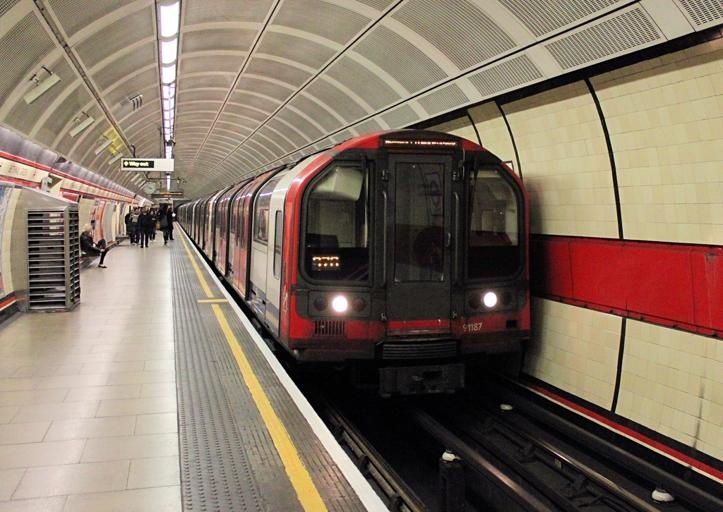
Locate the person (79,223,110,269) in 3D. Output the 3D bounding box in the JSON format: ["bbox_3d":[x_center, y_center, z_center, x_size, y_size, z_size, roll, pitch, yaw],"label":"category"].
[{"bbox_3d":[-8.736,-0.280,15.050,0.839,1.384,0.623,-3,18,-33],"label":"person"}]
